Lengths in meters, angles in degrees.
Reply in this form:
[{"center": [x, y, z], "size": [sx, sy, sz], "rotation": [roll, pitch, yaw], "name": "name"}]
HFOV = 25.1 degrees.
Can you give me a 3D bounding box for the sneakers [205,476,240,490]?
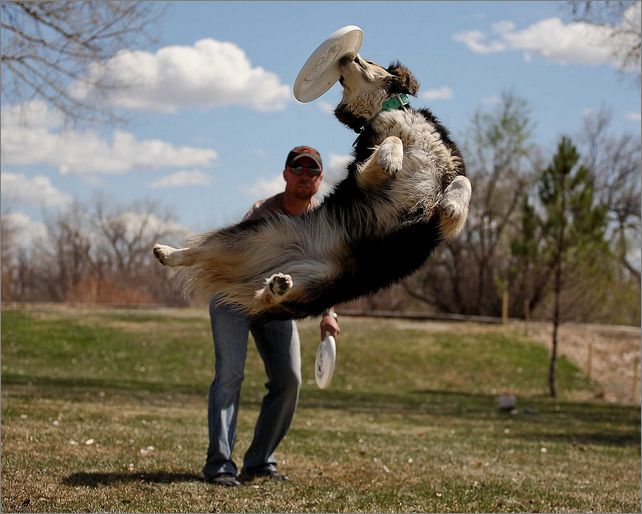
[{"center": [-1.334, 3.120, 19.645], "size": [0.488, 0.242, 0.180], "rotation": [1, -1, -1], "name": "sneakers"}]
